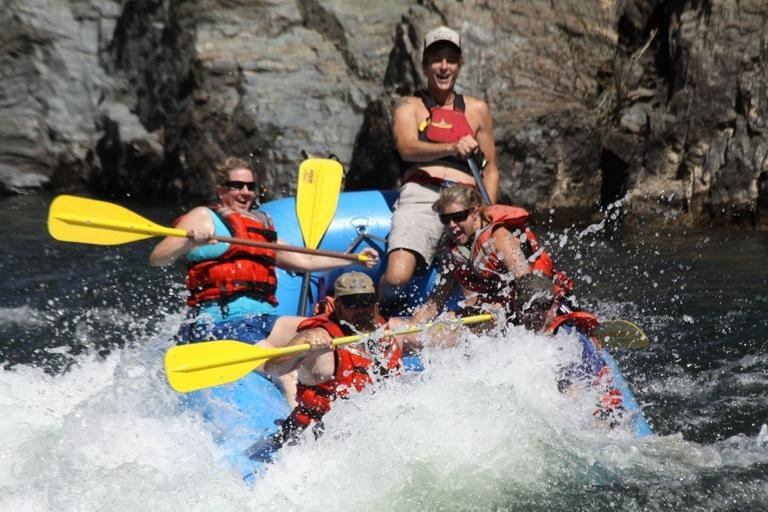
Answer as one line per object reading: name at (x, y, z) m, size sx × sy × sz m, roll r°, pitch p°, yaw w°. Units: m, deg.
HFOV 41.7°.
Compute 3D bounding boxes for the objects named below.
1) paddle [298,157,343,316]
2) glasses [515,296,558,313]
paddle at (-0.690, -0.207, 9.641) m, size 0.395 × 0.076 × 1.579 m, roll 7°, pitch 64°, yaw -3°
glasses at (1.274, 0.411, 8.539) m, size 0.235 × 0.166 × 0.093 m, roll -9°, pitch 78°, yaw 33°
